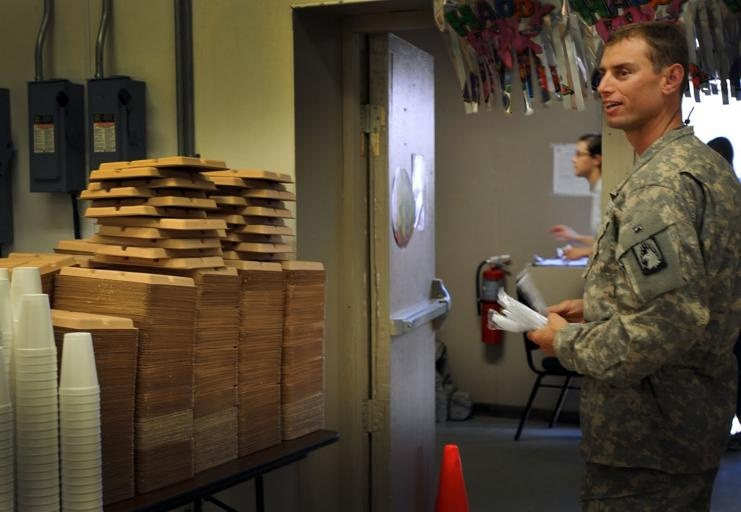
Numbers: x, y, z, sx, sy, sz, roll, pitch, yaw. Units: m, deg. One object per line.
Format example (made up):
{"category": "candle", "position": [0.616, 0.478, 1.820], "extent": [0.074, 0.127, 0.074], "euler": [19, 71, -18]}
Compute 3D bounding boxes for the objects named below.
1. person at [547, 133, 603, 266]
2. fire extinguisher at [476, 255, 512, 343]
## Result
{"category": "person", "position": [1.544, -0.518, 5.021], "extent": [0.371, 1.152, 0.584], "euler": [5, 9, 15]}
{"category": "fire extinguisher", "position": [0.967, 0.365, 5.545], "extent": [0.270, 0.748, 0.495], "euler": [0, 3, 6]}
